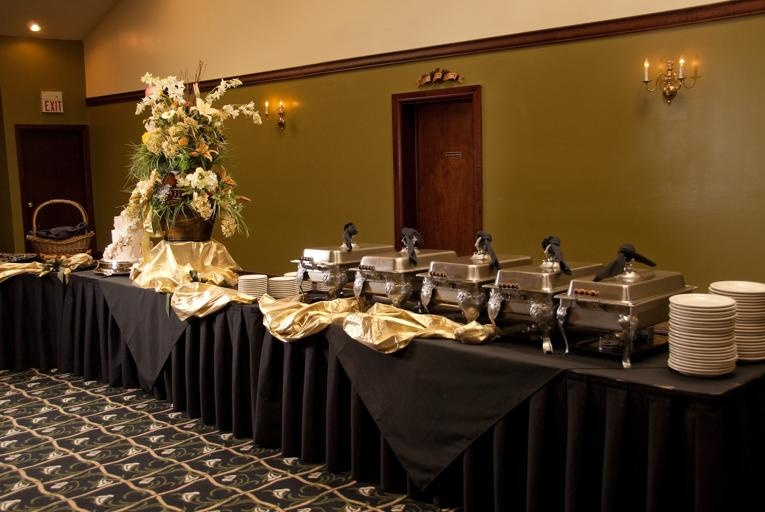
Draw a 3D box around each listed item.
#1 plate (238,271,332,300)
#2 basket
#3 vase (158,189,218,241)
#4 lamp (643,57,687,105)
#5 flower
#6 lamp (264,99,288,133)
[{"bbox_3d":[-0.748,0.216,4.048,0.430,0.109,0.254,1,2,26],"label":"plate"},{"bbox_3d":[-3.348,-0.309,5.929,0.606,0.563,0.450,-4,15,-25],"label":"basket"},{"bbox_3d":[-1.596,-0.230,4.659,0.409,0.289,0.382,0,-5,-9],"label":"vase"},{"bbox_3d":[2.662,-1.641,5.322,0.136,0.426,0.429,-19,20,-32],"label":"lamp"},{"bbox_3d":[-1.561,-0.783,4.562,1.012,1.160,0.769,5,5,-2],"label":"flower"},{"bbox_3d":[-1.487,-1.987,7.944,0.326,0.408,0.102,7,15,33],"label":"lamp"}]
